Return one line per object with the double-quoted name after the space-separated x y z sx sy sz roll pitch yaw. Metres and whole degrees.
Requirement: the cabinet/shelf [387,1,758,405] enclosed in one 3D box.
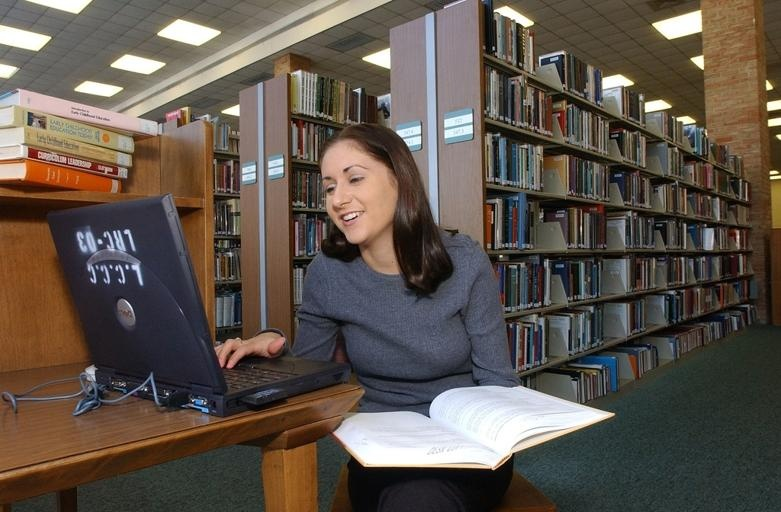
1.663 -0.459 4.573 0.756 1.776 4.506 -10 -12 37 "cabinet/shelf"
